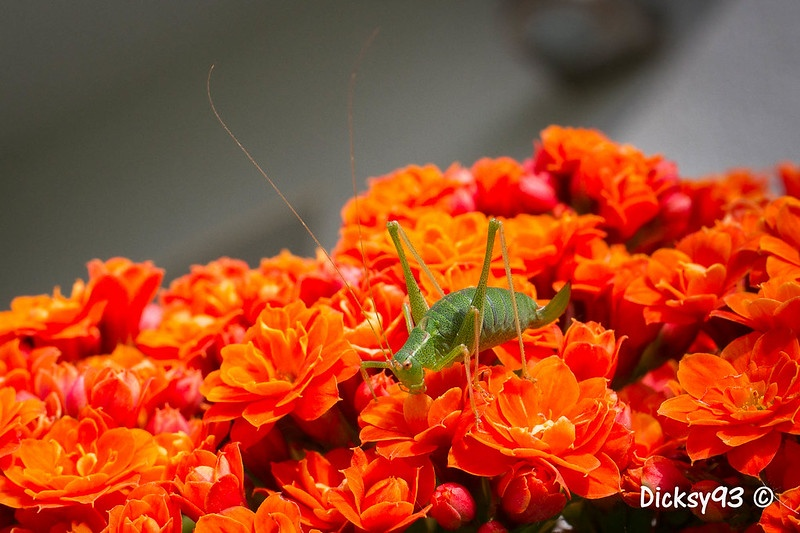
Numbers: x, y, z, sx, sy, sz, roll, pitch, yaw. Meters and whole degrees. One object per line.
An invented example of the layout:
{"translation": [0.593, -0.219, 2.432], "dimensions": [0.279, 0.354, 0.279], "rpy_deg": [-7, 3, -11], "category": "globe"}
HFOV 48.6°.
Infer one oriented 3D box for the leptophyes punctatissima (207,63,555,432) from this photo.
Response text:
{"translation": [-0.003, 0.056, 0.987], "dimensions": [0.213, 0.627, 0.298], "rpy_deg": [-6, 0, -41], "category": "leptophyes punctatissima"}
